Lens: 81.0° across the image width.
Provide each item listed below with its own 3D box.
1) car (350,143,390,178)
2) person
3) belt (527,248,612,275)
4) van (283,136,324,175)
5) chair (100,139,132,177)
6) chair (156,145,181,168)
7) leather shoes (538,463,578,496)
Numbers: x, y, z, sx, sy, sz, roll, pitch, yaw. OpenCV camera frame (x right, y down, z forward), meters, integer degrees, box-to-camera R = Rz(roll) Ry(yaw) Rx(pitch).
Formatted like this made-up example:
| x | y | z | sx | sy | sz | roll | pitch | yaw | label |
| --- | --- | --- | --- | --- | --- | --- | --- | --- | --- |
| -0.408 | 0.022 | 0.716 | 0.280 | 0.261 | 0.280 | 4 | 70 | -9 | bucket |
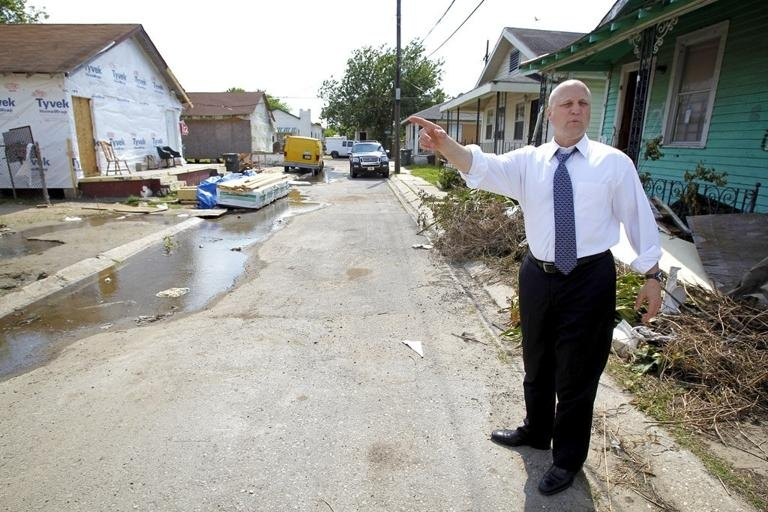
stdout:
| x | y | z | sx | sy | sz | roll | pitch | yaw | label |
| --- | --- | --- | --- | --- | --- | --- | --- | --- | --- |
| -0.781 | -4.989 | 24.579 | 1.574 | 1.122 | 2.903 | -1 | 7 | -4 | car |
| 1.534 | 0.219 | 3.892 | 1.088 | 3.228 | 1.274 | -13 | 21 | -35 | person |
| 1.463 | 0.091 | 3.644 | 0.346 | 0.100 | 0.337 | -4 | 6 | 38 | belt |
| -4.605 | -5.652 | 26.450 | 2.204 | 1.409 | 3.002 | 3 | 19 | 3 | van |
| -10.754 | -3.477 | 17.340 | 0.915 | 1.101 | 0.884 | 19 | 52 | 33 | chair |
| -10.227 | -4.421 | 21.234 | 0.877 | 0.923 | 1.901 | -6 | 15 | -20 | chair |
| 1.530 | 1.833 | 3.780 | 0.434 | 0.127 | 0.159 | 1 | -1 | -33 | leather shoes |
